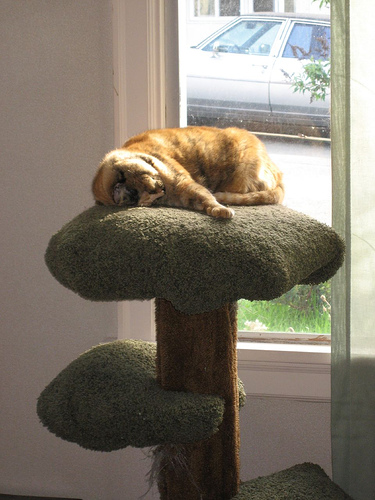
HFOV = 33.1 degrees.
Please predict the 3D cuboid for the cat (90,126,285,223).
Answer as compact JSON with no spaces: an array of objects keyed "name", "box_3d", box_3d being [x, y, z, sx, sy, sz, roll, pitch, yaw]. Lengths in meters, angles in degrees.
[{"name":"cat","box_3d":[-0.017,-0.200,1.549,0.468,0.209,0.454,3,11,20]}]
